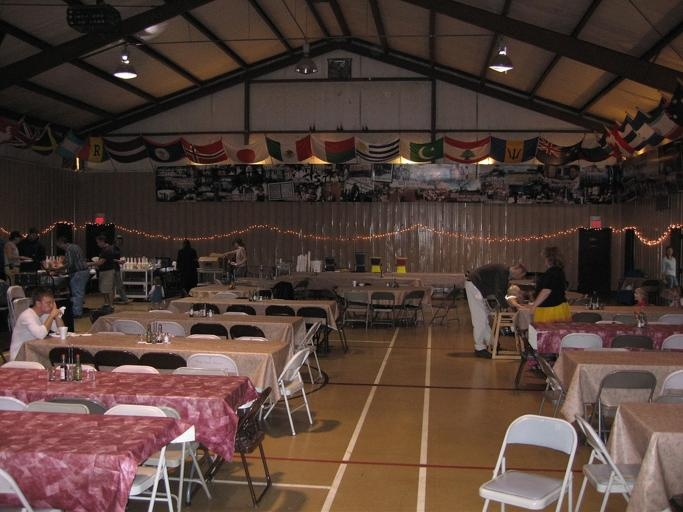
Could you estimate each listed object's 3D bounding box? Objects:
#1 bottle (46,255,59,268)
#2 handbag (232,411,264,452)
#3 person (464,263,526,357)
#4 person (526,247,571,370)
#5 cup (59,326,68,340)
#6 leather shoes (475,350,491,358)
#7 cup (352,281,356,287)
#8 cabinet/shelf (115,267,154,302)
[{"bbox_3d":[-7.341,0.180,15.466,0.296,0.334,0.318,2,2,6],"label":"bottle"},{"bbox_3d":[-0.862,1.631,5.628,0.304,0.099,0.354,4,9,14],"label":"handbag"},{"bbox_3d":[2.569,0.878,10.453,0.976,1.687,0.685,5,15,15],"label":"person"},{"bbox_3d":[3.017,0.683,8.939,0.557,1.597,0.683,6,13,43],"label":"person"},{"bbox_3d":[-3.342,0.941,7.395,0.129,0.164,0.133,1,-5,0],"label":"cup"},{"bbox_3d":[2.410,1.675,10.427,0.212,0.097,0.113,-2,2,35],"label":"leather shoes"},{"bbox_3d":[0.258,0.644,13.681,0.075,0.146,0.082,0,1,0],"label":"cup"},{"bbox_3d":[-5.723,0.795,17.022,0.850,0.989,0.928,1,1,7],"label":"cabinet/shelf"}]
